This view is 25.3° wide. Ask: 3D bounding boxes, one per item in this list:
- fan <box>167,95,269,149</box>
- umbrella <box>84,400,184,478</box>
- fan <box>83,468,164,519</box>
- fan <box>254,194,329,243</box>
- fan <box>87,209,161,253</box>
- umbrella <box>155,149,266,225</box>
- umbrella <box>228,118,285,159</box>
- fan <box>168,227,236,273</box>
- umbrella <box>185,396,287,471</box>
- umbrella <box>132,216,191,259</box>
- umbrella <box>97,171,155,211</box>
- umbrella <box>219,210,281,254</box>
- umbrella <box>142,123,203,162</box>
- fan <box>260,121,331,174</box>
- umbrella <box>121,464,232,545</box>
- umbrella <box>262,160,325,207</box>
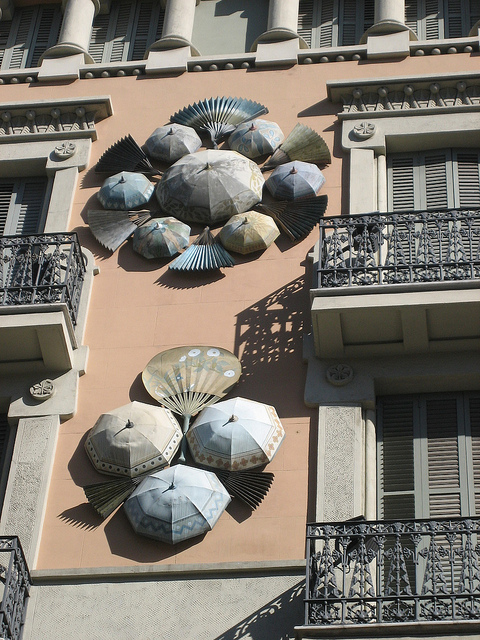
[{"bbox_3d":[-0.342,-3.086,17.222,1.533,1.165,0.159,1,-18,21],"label":"fan"},{"bbox_3d":[-1.343,1.415,13.405,1.176,1.095,0.538,-22,-42,-12],"label":"umbrella"},{"bbox_3d":[-1.448,2.075,12.982,0.846,0.433,0.154,-23,-30,-18],"label":"fan"},{"bbox_3d":[0.841,-1.479,15.551,0.882,0.733,0.315,1,-46,15],"label":"fan"},{"bbox_3d":[-1.763,-1.385,16.240,1.059,0.521,0.201,-21,-19,-18],"label":"fan"},{"bbox_3d":[-0.451,-2.141,16.228,1.700,1.415,0.493,12,-29,15],"label":"umbrella"},{"bbox_3d":[0.234,-2.872,17.041,1.141,0.358,0.998,-8,7,-17],"label":"umbrella"},{"bbox_3d":[-0.511,-1.031,15.252,0.934,0.104,0.937,-6,-38,-14],"label":"fan"},{"bbox_3d":[-0.023,1.403,13.147,1.216,0.882,0.517,2,-7,0],"label":"umbrella"},{"bbox_3d":[-1.172,-1.237,15.762,0.920,0.811,0.379,-1,-42,7],"label":"umbrella"},{"bbox_3d":[-1.788,-2.032,16.383,0.865,0.787,0.368,-21,-46,-18],"label":"umbrella"},{"bbox_3d":[0.112,-1.341,15.489,0.860,0.775,0.363,-16,-46,-7],"label":"umbrella"},{"bbox_3d":[-1.070,-2.845,16.900,0.770,0.675,0.359,-13,-43,-1],"label":"umbrella"},{"bbox_3d":[0.863,-2.609,16.483,1.022,0.541,0.170,-23,-39,0],"label":"fan"},{"bbox_3d":[-0.725,2.193,12.541,1.201,0.827,0.503,3,-7,-4],"label":"umbrella"},{"bbox_3d":[0.827,-2.127,16.025,0.833,0.787,0.384,24,-28,18],"label":"umbrella"}]
